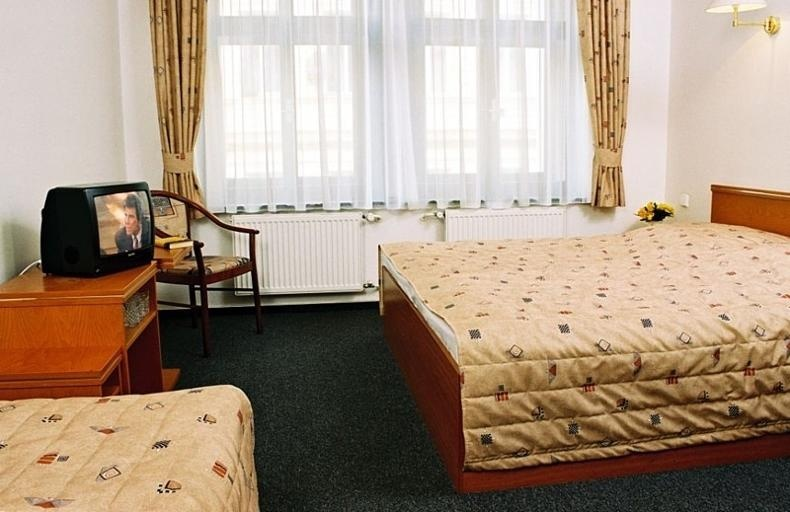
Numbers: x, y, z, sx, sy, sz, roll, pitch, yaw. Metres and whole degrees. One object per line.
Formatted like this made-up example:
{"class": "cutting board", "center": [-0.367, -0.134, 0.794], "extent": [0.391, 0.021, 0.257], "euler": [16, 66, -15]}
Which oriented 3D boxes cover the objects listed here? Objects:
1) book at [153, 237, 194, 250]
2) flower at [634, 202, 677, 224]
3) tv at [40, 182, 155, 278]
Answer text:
{"class": "book", "center": [-1.475, -0.096, 3.941], "extent": [0.228, 0.059, 0.253], "euler": [-7, 13, -22]}
{"class": "flower", "center": [2.371, -0.400, 5.345], "extent": [0.238, 0.116, 0.241], "euler": [4, 10, 40]}
{"class": "tv", "center": [-1.630, -0.145, 3.468], "extent": [0.535, 0.515, 0.574], "euler": [-2, 5, 8]}
